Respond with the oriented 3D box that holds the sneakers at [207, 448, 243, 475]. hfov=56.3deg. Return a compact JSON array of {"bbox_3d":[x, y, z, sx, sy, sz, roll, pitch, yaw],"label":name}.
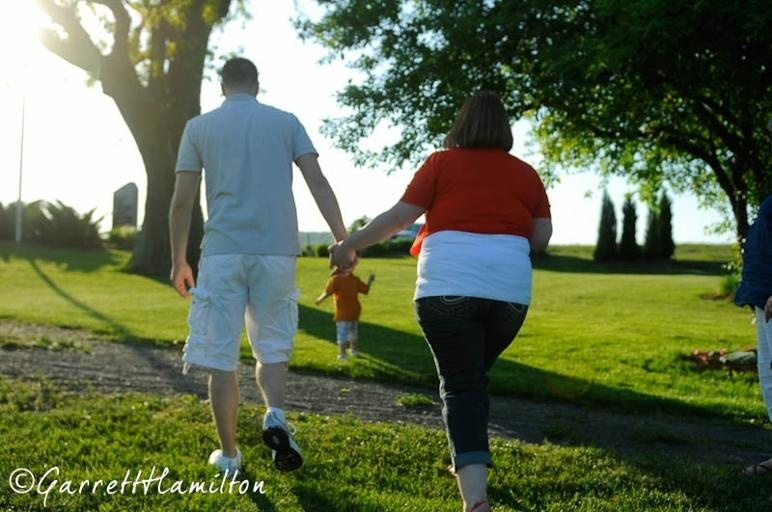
[{"bbox_3d":[-1.744,2.270,7.972,0.340,0.241,0.200,15,-14,16],"label":"sneakers"}]
